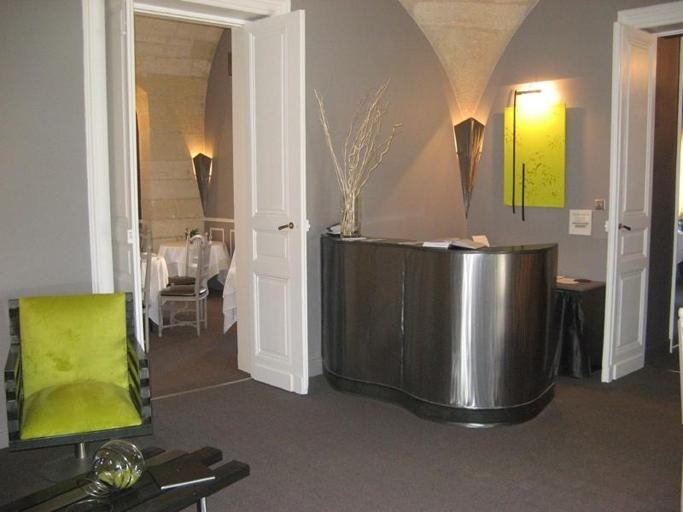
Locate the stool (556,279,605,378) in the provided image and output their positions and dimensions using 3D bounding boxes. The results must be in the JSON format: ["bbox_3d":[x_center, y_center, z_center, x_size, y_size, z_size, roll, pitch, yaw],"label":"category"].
[{"bbox_3d":[2.296,0.702,5.342,0.402,0.836,0.613,6,11,33],"label":"stool"}]

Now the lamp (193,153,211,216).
[{"bbox_3d":[-2.350,-1.224,9.423,0.348,1.029,0.163,7,12,37],"label":"lamp"}]

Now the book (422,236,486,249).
[{"bbox_3d":[0.879,-0.099,4.300,0.495,0.061,0.298,1,10,10],"label":"book"}]

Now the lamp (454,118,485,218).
[{"bbox_3d":[1.495,-1.021,6.520,0.356,1.157,0.168,-7,12,-34],"label":"lamp"}]

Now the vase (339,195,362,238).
[{"bbox_3d":[0.078,-0.348,4.826,0.161,0.357,0.106,0,10,5],"label":"vase"}]
